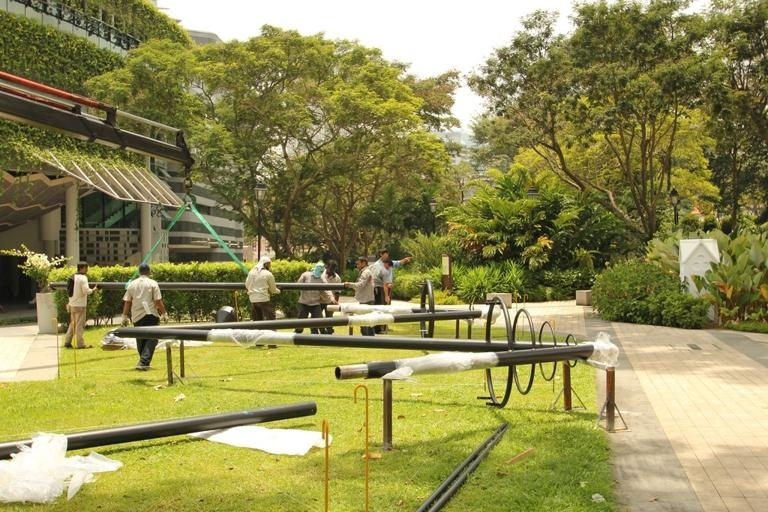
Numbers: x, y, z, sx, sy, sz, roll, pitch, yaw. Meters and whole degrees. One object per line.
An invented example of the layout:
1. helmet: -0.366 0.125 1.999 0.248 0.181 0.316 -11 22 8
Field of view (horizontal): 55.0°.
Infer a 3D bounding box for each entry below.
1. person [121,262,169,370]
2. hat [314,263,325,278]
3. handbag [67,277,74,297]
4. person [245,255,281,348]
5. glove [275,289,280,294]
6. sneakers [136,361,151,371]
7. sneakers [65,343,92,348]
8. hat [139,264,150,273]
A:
1. person: -5.679 1.396 17.397 0.914 2.512 1.219 2 -5 -18
2. hat: -1.846 0.374 20.917 0.324 0.445 0.509 1 -5 -7
3. handbag: -8.656 0.827 20.354 0.164 0.537 0.354 2 -5 -22
4. person: -3.319 1.229 20.039 0.834 2.468 1.036 1 -5 -10
5. glove: -2.859 0.913 19.669 0.147 0.195 0.089 -1 -2 0
6. sneakers: -5.546 2.515 16.983 0.270 0.264 0.177 -1 1 3
7. sneakers: -8.641 2.498 20.755 0.533 0.231 0.173 -3 -5 11
8. hat: -5.741 0.283 17.632 0.124 0.165 0.161 14 33 -22
